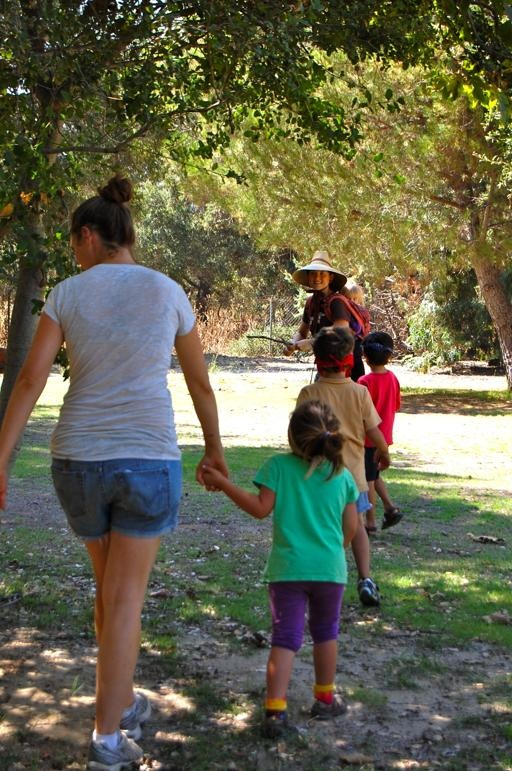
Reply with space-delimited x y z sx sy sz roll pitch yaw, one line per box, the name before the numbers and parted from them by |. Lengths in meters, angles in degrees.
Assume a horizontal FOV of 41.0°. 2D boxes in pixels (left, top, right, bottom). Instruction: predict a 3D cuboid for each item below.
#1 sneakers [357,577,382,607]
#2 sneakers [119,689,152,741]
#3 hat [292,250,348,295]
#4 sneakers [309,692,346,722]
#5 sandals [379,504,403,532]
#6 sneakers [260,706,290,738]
sneakers | 0.587 1.068 3.544 0.077 0.085 0.185 -6 -25 19
sneakers | -0.358 1.004 2.097 0.051 0.063 0.135 -2 14 9
hat | 0.421 -0.740 4.483 0.326 0.173 0.342 6 -33 3
sneakers | 0.244 1.080 2.318 0.135 0.060 0.053 -1 3 -41
sandals | 0.994 0.955 4.946 0.100 0.109 0.248 -6 -13 -12
sneakers | 0.057 1.042 2.117 0.048 0.051 0.125 1 -9 10
